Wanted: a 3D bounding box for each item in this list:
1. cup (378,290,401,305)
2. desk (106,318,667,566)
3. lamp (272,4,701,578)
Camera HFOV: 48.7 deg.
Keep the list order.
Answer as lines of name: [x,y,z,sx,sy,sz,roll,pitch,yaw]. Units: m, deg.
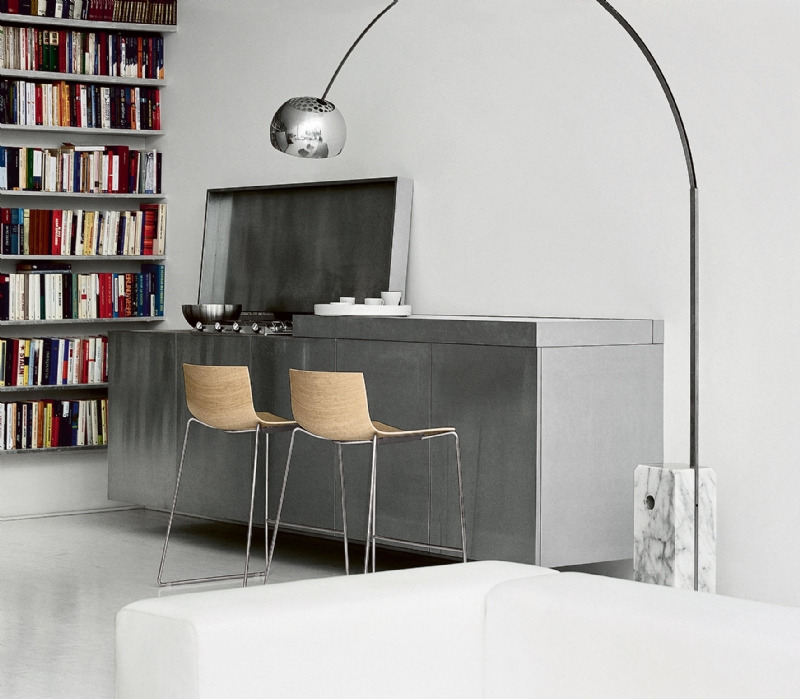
cup: [-0.044,-0.293,4.935,0.082,0.071,0.087,1,2,0]
desk: [-0.464,0.375,4.984,2.645,1.176,0.813,2,-1,21]
lamp: [0.461,-0.413,4.130,1.798,2.616,1.081,0,11,24]
